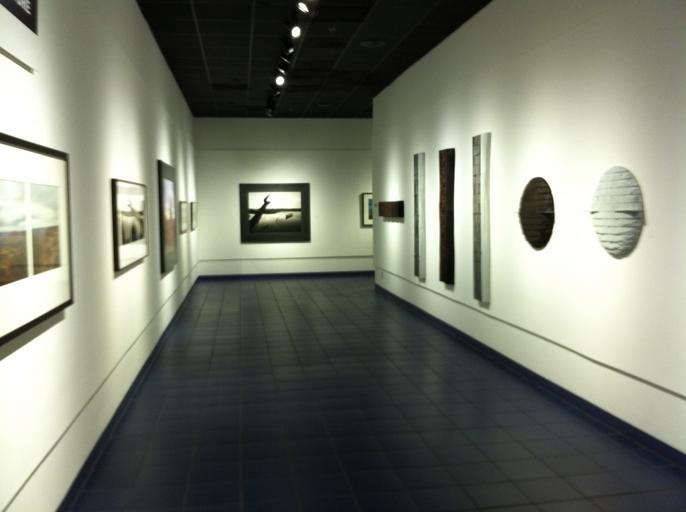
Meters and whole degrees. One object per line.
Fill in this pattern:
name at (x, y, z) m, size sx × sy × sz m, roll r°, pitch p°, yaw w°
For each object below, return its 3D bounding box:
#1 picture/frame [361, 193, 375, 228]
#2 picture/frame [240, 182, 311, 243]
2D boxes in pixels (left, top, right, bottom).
picture/frame at (0.676, -1.377, 14.402) m, size 0.352 × 1.065 × 0.177 m, roll 3°, pitch 7°, yaw 8°
picture/frame at (-2.100, -1.310, 14.041) m, size 1.548 × 1.483 × 0.065 m, roll -1°, pitch 5°, yaw -6°
